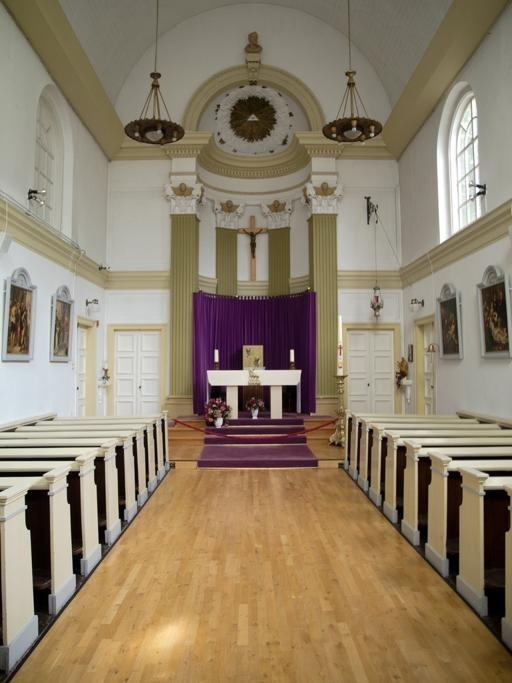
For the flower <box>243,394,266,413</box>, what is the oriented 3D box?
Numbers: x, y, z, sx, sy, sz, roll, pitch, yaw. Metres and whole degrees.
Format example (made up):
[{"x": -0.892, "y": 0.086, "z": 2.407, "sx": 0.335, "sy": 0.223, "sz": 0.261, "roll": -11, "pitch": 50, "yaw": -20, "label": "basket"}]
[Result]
[{"x": -0.053, "y": 1.204, "z": 9.362, "sx": 0.335, "sy": 0.452, "sz": 0.381, "roll": 0, "pitch": -3, "yaw": 21, "label": "flower"}]

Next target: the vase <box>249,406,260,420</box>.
[{"x": -0.035, "y": 1.376, "z": 9.230, "sx": 0.167, "sy": 0.332, "sz": 0.177, "roll": 1, "pitch": -4, "yaw": 23, "label": "vase"}]

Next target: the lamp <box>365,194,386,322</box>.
[{"x": 2.612, "y": -1.967, "z": 10.559, "sx": 0.352, "sy": 2.867, "sz": 0.487, "roll": -1, "pitch": -2, "yaw": 17, "label": "lamp"}]

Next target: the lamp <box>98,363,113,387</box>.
[{"x": -3.267, "y": 0.724, "z": 10.300, "sx": 0.151, "sy": 0.522, "sz": 0.519, "roll": 0, "pitch": -2, "yaw": 4, "label": "lamp"}]

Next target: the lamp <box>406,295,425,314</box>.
[{"x": 3.203, "y": -0.780, "z": 9.466, "sx": 0.239, "sy": 0.307, "sz": 0.200, "roll": 1, "pitch": -2, "yaw": -11, "label": "lamp"}]

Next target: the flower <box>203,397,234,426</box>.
[{"x": -0.738, "y": 1.282, "z": 9.000, "sx": 0.427, "sy": 0.609, "sz": 0.478, "roll": 2, "pitch": 1, "yaw": 14, "label": "flower"}]

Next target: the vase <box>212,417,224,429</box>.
[{"x": -0.699, "y": 1.490, "z": 8.741, "sx": 0.143, "sy": 0.206, "sz": 0.166, "roll": -2, "pitch": -8, "yaw": 5, "label": "vase"}]

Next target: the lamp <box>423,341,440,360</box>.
[{"x": 3.145, "y": 0.135, "z": 8.577, "sx": 0.211, "sy": 0.401, "sz": 0.314, "roll": 4, "pitch": 6, "yaw": 18, "label": "lamp"}]

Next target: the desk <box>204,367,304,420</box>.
[{"x": -0.003, "y": 1.005, "z": 9.464, "sx": 1.733, "sy": 0.957, "sz": 1.361, "roll": -1, "pitch": -2, "yaw": 3, "label": "desk"}]
